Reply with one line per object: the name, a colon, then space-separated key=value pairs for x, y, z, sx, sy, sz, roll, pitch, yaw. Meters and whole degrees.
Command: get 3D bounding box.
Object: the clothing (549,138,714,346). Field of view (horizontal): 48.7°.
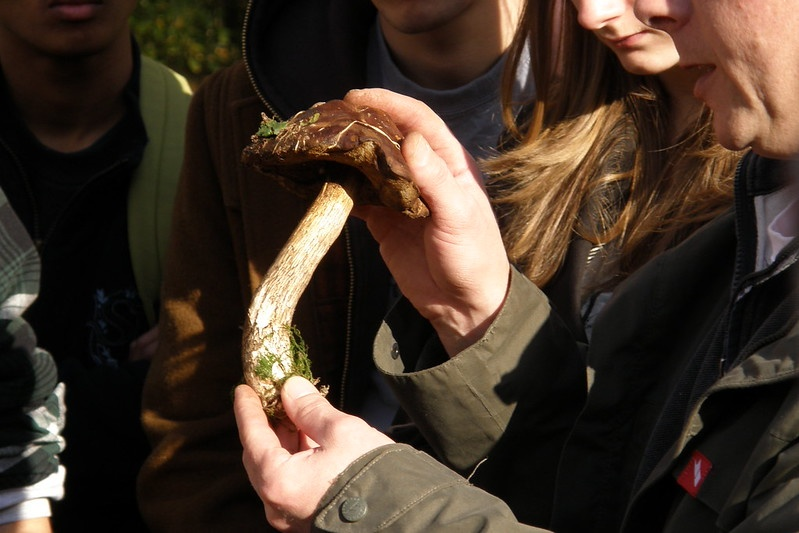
clothing: x=1.189 y=-0.208 z=4.489 sx=1.047 sy=0.419 sz=0.788 roll=-52 pitch=23 yaw=-7
